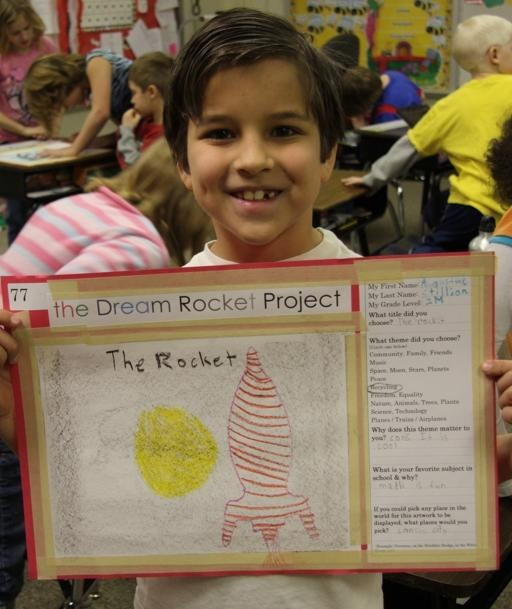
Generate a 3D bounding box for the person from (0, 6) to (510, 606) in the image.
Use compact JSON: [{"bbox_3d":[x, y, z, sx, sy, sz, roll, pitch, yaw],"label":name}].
[{"bbox_3d":[-0.007,0.029,0.817,0.670,0.814,0.306,-2,15,0],"label":"person"}]
